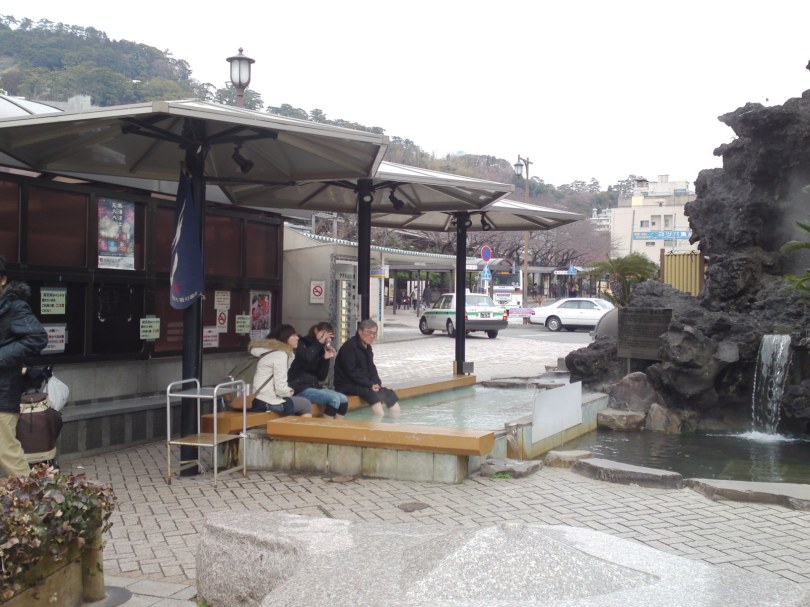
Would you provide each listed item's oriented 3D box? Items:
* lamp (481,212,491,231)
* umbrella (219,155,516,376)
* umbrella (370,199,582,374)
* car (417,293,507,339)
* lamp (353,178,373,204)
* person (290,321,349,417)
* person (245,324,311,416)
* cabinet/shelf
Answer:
[{"bbox_3d":[1.704,-1.666,14.393,0.247,0.287,0.279,-1,-12,-21],"label":"lamp"},{"bbox_3d":[-0.712,-0.946,11.637,4.650,3.008,4.118,2,-3,-13],"label":"umbrella"},{"bbox_3d":[1.172,-0.369,14.069,3.780,3.583,4.213,2,0,-5],"label":"umbrella"},{"bbox_3d":[2.530,0.571,29.768,1.889,1.289,3.182,0,4,-31],"label":"car"},{"bbox_3d":[-0.640,-1.733,10.740,0.302,0.429,0.310,-1,1,-6],"label":"lamp"},{"bbox_3d":[-1.166,1.014,9.352,0.831,1.525,0.579,2,6,20],"label":"person"},{"bbox_3d":[-1.579,0.981,8.797,0.937,1.450,0.635,5,-10,-29],"label":"person"},{"bbox_3d":[-2.284,1.457,7.955,0.726,1.172,0.759,-2,-2,21],"label":"cabinet/shelf"}]
